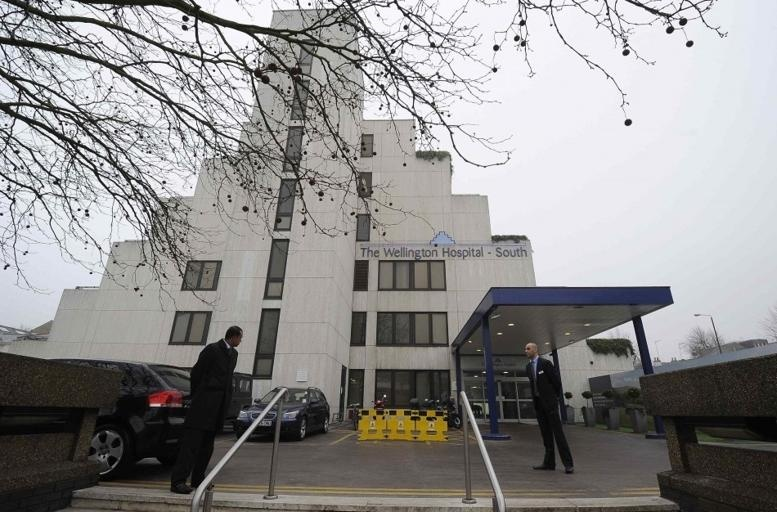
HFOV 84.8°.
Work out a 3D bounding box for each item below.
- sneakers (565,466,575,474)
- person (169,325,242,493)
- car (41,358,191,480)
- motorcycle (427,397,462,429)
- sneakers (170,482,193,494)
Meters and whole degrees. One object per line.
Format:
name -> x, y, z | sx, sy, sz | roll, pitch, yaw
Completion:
sneakers -> 3.617, 4.276, 8.463 | 0.124, 0.135, 0.330 | -4, -40, 13
person -> -2.954, 2.420, 6.949 | 0.694, 2.534, 0.737 | 10, -25, -22
car -> -3.892, 3.101, 7.979 | 3.443, 1.364, 1.693 | 5, -33, -1
motorcycle -> 2.707, 7.718, 21.168 | 1.747, 1.587, 7.590 | -2, -22, 5
sneakers -> -3.089, 3.480, 6.391 | 0.370, 0.125, 0.136 | 1, -23, 12
